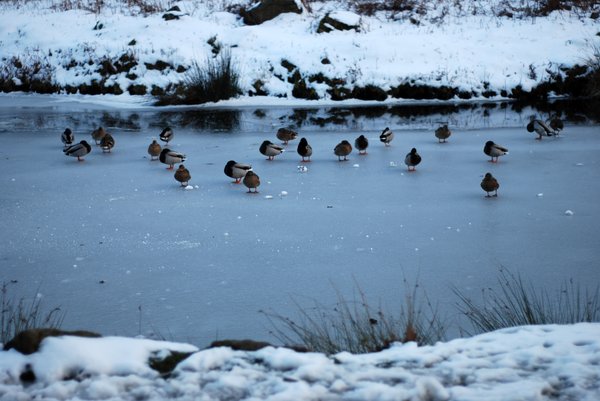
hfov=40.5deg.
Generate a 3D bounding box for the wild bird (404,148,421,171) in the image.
[{"bbox_3d":[3.720,-1.362,26.665,0.419,0.552,0.823,0,3,0],"label":"wild bird"}]

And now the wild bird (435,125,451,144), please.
[{"bbox_3d":[5.348,-2.499,30.157,0.548,0.747,0.747,-6,8,-21],"label":"wild bird"}]

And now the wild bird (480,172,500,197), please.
[{"bbox_3d":[5.775,-0.511,24.673,0.425,0.605,0.845,-3,20,4],"label":"wild bird"}]

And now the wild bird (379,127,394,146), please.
[{"bbox_3d":[3.151,-2.367,29.720,0.472,0.667,1.205,-3,9,6],"label":"wild bird"}]

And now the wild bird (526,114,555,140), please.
[{"bbox_3d":[8.980,-2.674,30.182,1.169,0.867,0.585,5,14,12],"label":"wild bird"}]

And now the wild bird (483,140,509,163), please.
[{"bbox_3d":[6.609,-1.680,27.394,0.722,0.688,0.997,-2,9,13],"label":"wild bird"}]

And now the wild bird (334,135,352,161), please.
[{"bbox_3d":[1.451,-1.746,28.023,0.571,0.681,0.883,-3,8,2],"label":"wild bird"}]

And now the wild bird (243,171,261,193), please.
[{"bbox_3d":[-1.501,-0.602,25.039,0.491,0.661,0.640,-4,8,-4],"label":"wild bird"}]

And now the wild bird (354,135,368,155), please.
[{"bbox_3d":[2.168,-2.005,28.813,0.359,0.524,0.749,-1,7,2],"label":"wild bird"}]
